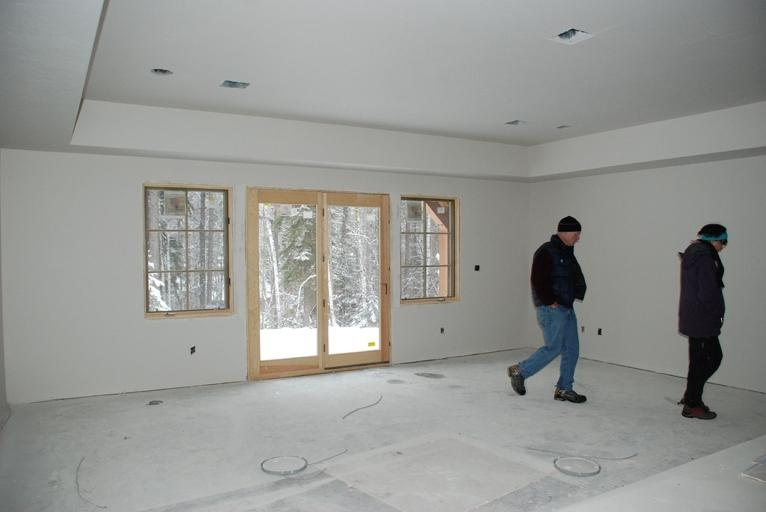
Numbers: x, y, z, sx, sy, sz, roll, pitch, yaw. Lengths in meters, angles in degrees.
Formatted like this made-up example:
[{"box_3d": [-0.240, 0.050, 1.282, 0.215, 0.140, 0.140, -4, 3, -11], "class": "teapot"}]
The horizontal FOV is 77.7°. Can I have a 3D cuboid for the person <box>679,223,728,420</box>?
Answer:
[{"box_3d": [3.489, 0.707, 5.190, 0.426, 2.098, 0.357, 1, 5, 23], "class": "person"}]

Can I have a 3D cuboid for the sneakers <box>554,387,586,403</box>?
[{"box_3d": [2.272, 1.660, 5.768, 0.368, 0.162, 0.151, -1, 0, 15], "class": "sneakers"}]

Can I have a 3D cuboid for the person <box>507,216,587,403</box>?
[{"box_3d": [2.055, 0.638, 5.796, 0.870, 2.221, 0.472, 0, 4, 14], "class": "person"}]

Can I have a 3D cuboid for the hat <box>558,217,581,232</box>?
[{"box_3d": [2.269, -0.373, 5.719, 0.209, 0.144, 0.205, -7, 10, -44], "class": "hat"}]
